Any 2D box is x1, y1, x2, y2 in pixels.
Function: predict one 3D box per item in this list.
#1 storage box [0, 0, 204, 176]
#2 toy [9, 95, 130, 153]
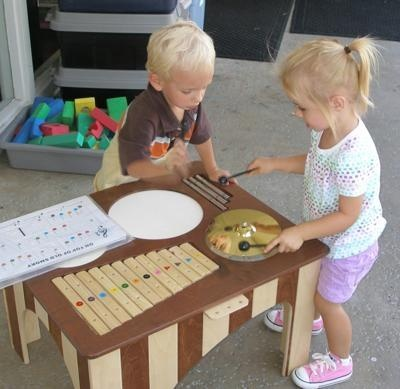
[{"bbox_3d":[-0.696,-0.833,2.758,0.968,1.299,0.931,-7,32,-34],"label":"storage box"},{"bbox_3d":[-0.660,-0.371,2.085,0.451,0.132,0.433,5,44,4],"label":"toy"}]
